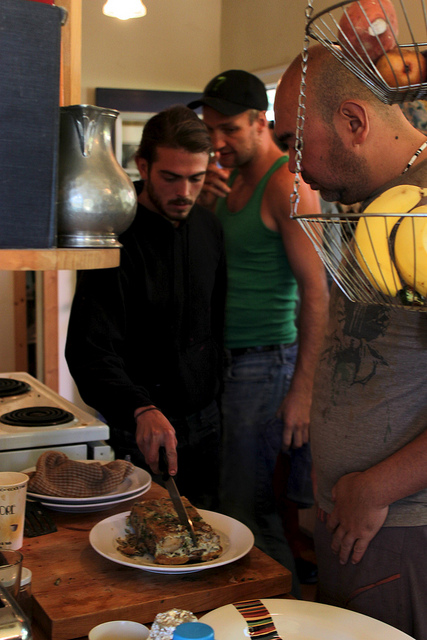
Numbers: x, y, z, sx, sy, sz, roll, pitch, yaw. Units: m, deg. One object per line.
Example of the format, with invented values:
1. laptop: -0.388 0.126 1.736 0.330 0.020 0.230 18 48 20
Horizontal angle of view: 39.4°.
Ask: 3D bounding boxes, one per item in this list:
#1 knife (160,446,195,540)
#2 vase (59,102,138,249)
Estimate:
1. knife: -0.085 0.312 1.112 0.015 0.029 0.236 -17 27 -13
2. vase: -0.173 -0.216 0.872 0.111 0.220 0.210 -5 12 -6
